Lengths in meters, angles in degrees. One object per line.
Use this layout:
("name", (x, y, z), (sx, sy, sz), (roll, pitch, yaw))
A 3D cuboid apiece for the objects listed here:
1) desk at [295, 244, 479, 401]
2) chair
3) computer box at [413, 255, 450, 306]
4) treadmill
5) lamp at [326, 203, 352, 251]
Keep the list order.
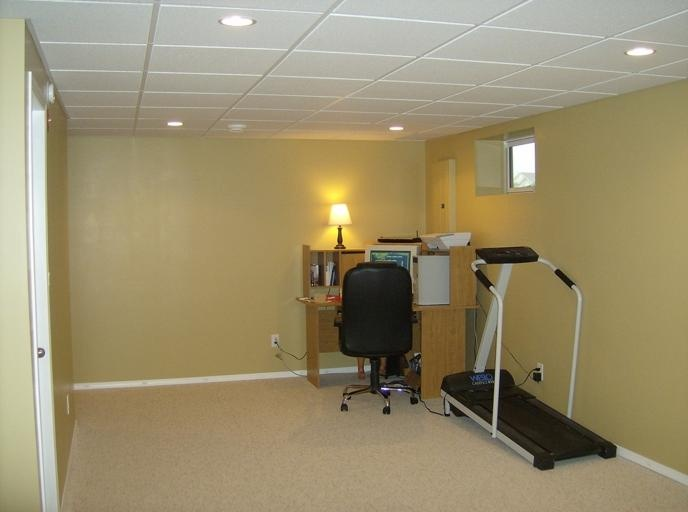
("desk", (0.473, 0.752, 6.350), (1.978, 1.980, 1.611), (0, -2, -16))
("chair", (0.344, 0.797, 5.426), (0.827, 1.484, 0.546), (-1, 8, -1))
("computer box", (0.947, 0.257, 5.739), (0.477, 0.709, 0.393), (0, 1, -12))
("treadmill", (1.612, 0.765, 4.814), (0.937, 1.683, 1.463), (-4, 9, -23))
("lamp", (-0.041, -0.362, 6.645), (0.273, 0.540, 0.326), (-1, 8, 0))
